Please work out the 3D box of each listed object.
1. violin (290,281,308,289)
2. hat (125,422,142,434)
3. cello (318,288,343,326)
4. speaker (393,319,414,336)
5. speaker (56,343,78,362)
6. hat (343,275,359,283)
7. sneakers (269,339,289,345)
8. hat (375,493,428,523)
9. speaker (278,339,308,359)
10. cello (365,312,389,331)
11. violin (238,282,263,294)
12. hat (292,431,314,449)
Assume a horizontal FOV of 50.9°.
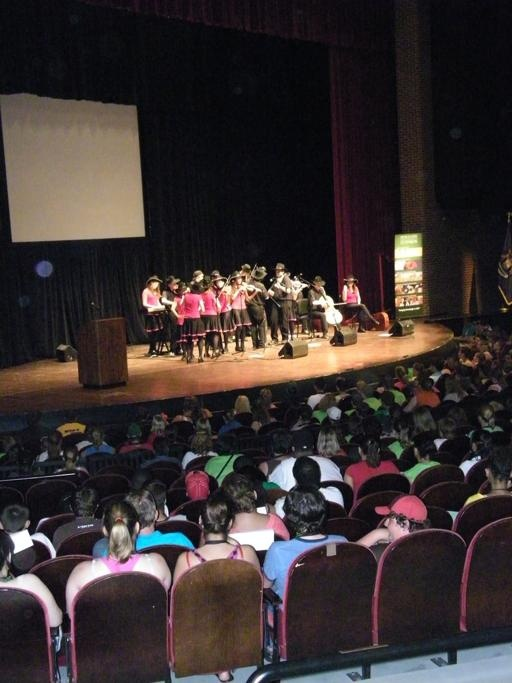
[{"bbox_3d":[1.104,-1.506,14.230,0.414,0.231,0.572,1,7,-1],"label":"violin"},{"bbox_3d":[-1.337,0.963,5.886,0.113,0.095,0.158,1,10,-17],"label":"hat"},{"bbox_3d":[1.878,-0.817,13.874,0.457,1.124,0.232,-13,-21,-27],"label":"cello"},{"bbox_3d":[3.798,-0.336,13.767,0.612,0.422,0.366,-6,31,-43],"label":"speaker"},{"bbox_3d":[-4.549,0.279,12.806,0.428,0.444,0.436,-4,6,-41],"label":"speaker"},{"bbox_3d":[2.655,-1.776,15.264,0.428,0.195,0.489,1,5,11],"label":"hat"},{"bbox_3d":[0.568,0.018,13.703,0.465,0.200,0.143,-9,9,-4],"label":"sneakers"},{"bbox_3d":[0.681,0.813,2.537,0.212,0.114,0.140,15,1,24],"label":"hat"},{"bbox_3d":[0.780,0.136,11.396,0.569,0.395,0.390,-10,17,-38],"label":"speaker"},{"bbox_3d":[3.392,-0.545,15.155,0.208,0.513,0.522,-8,5,-33],"label":"cello"},{"bbox_3d":[-0.168,-1.249,12.717,0.416,0.177,0.076,31,-14,27],"label":"violin"},{"bbox_3d":[0.390,0.819,4.461,0.161,0.141,0.236,9,-14,6],"label":"hat"}]
